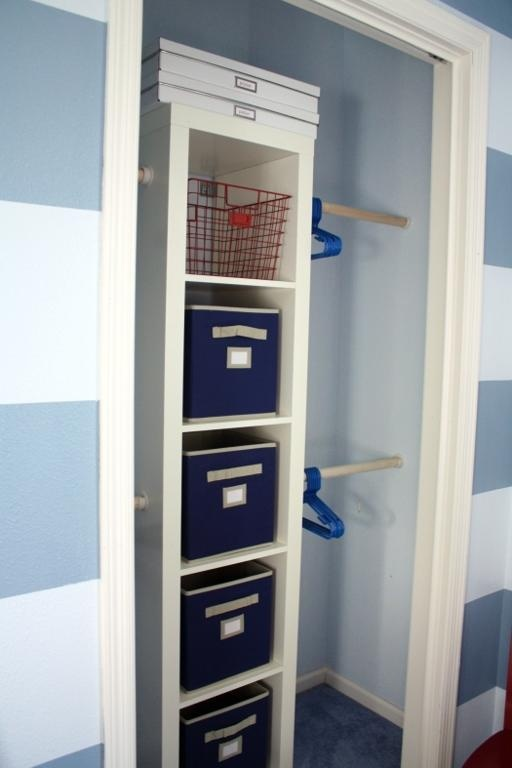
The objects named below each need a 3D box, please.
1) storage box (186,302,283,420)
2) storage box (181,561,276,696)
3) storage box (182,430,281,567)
[{"bbox_3d":[-0.071,-0.053,1.511,0.230,0.263,0.140,-3,10,-32],"label":"storage box"},{"bbox_3d":[-0.083,0.577,1.580,0.229,0.260,0.142,-5,13,-25],"label":"storage box"},{"bbox_3d":[-0.084,0.227,1.542,0.265,0.301,0.205,-4,5,-40],"label":"storage box"}]
